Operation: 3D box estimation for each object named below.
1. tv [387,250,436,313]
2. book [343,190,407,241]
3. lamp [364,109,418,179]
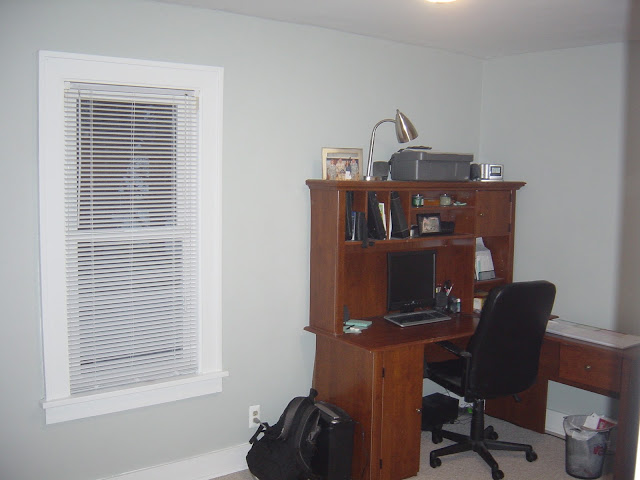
[{"bbox_3d":[0.706,0.325,4.250,0.469,0.494,0.065,-2,2,-32],"label":"tv"},{"bbox_3d":[0.383,-0.177,3.922,0.351,0.343,0.125,-1,0,-29],"label":"book"},{"bbox_3d":[0.523,-0.736,4.129,0.374,0.534,0.547,-2,6,5],"label":"lamp"}]
